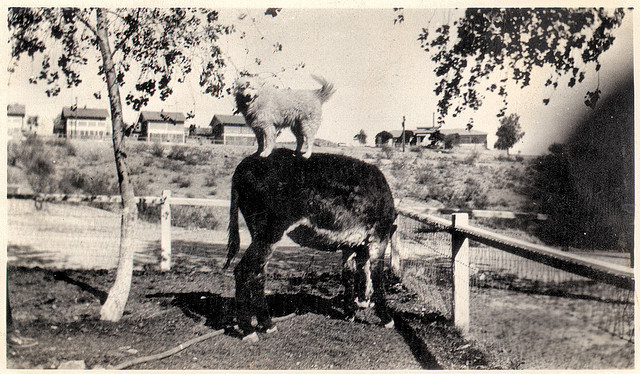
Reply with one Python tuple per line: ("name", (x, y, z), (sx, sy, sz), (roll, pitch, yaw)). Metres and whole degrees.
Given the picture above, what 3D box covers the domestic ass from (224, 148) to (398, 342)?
("domestic ass", (-0.103, 0.803, 8.156), (2.325, 2.700, 0.158), (0, 0, -2))
